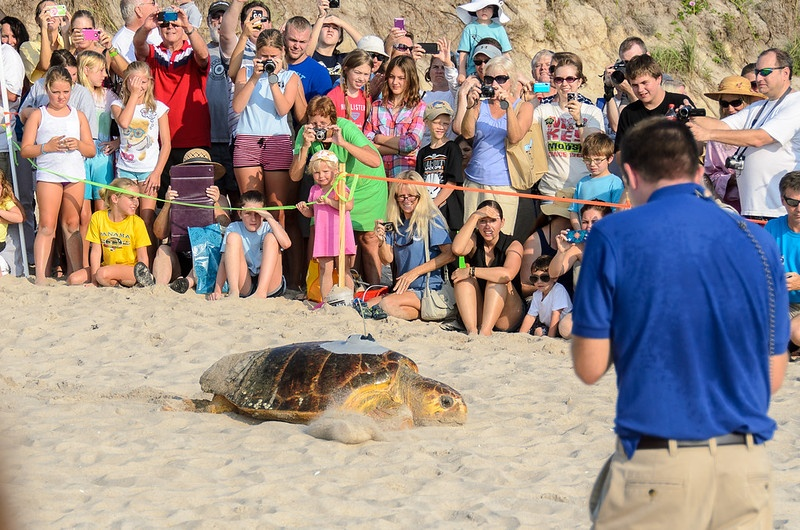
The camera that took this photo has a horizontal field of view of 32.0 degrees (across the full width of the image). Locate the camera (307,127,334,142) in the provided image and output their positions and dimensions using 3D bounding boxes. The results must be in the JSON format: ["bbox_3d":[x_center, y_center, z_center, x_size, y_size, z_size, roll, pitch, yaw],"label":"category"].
[{"bbox_3d":[-0.904,-1.505,15.847,0.160,0.068,0.164,-7,-38,12],"label":"camera"}]

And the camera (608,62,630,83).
[{"bbox_3d":[2.439,-2.165,15.690,0.137,0.230,0.247,7,16,3],"label":"camera"}]

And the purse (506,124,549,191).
[{"bbox_3d":[1.434,-1.260,16.094,0.224,0.581,0.505,3,41,49],"label":"purse"}]

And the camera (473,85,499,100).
[{"bbox_3d":[0.966,-1.969,15.881,0.207,0.156,0.130,0,-5,8],"label":"camera"}]

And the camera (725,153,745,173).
[{"bbox_3d":[3.637,-1.105,15.137,0.205,0.215,0.134,2,13,-13],"label":"camera"}]

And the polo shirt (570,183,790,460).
[{"bbox_3d":[2.211,0.453,11.204,1.600,2.191,0.189,0,3,-4],"label":"polo shirt"}]
